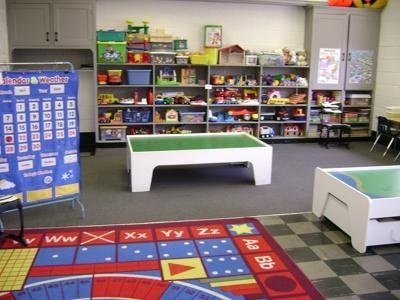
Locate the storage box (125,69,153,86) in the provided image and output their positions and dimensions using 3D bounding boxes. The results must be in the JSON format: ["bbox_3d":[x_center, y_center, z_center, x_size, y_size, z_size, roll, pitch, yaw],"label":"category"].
[{"bbox_3d":[-1.347,-1.590,6.984,0.513,0.241,0.331,-4,14,-12],"label":"storage box"}]

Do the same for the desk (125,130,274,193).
[{"bbox_3d":[-0.067,0.176,5.348,2.244,0.644,1.084,-3,18,-12],"label":"desk"}]

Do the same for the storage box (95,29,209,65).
[{"bbox_3d":[-1.044,-2.226,6.994,2.343,0.680,0.512,-4,19,-14],"label":"storage box"}]

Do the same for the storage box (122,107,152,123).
[{"bbox_3d":[-1.414,-0.775,7.236,0.671,0.291,0.407,-3,18,-11],"label":"storage box"}]

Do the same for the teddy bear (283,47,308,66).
[{"bbox_3d":[2.254,-2.179,7.642,0.522,0.130,0.513,1,30,-7],"label":"teddy bear"}]

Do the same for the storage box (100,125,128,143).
[{"bbox_3d":[-1.924,-0.355,7.095,0.449,0.224,0.412,0,6,-5],"label":"storage box"}]
